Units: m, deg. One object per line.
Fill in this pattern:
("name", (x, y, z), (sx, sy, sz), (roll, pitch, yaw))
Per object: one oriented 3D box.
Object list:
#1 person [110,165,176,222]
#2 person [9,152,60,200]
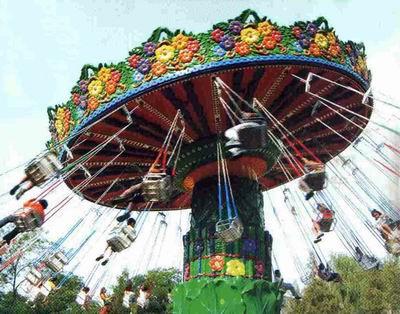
("person", (-1.715, 0.882, 8.288), (1.889, 1.437, 0.950), (-32, -75, 0))
("person", (-4.000, 0.494, 7.152), (0.697, 1.217, 0.280), (44, -27, 13))
